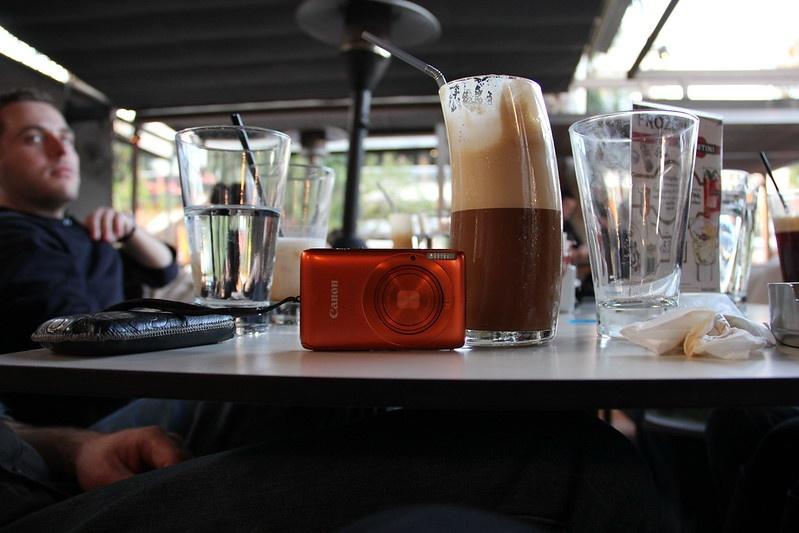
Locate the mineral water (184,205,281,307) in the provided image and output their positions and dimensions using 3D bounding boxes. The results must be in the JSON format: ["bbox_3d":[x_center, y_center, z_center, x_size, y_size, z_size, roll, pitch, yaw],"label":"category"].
[{"bbox_3d":[-0.302,-0.010,1.155,0.158,0.157,0.160,1,-7,-33],"label":"mineral water"}]

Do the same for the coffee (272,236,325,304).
[{"bbox_3d":[-0.171,0.006,1.278,0.127,0.114,0.108,2,-1,1],"label":"coffee"}]

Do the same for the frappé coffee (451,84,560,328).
[{"bbox_3d":[0.162,-0.099,1.036,0.199,0.394,0.094,1,9,2],"label":"frappé coffee"}]

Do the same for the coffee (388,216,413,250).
[{"bbox_3d":[0.004,-0.098,1.805,0.062,0.092,0.171,1,9,-1],"label":"coffee"}]

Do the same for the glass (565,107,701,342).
[{"bbox_3d":[0.394,-0.061,1.138,0.238,0.356,0.234,-8,8,-28],"label":"glass"}]

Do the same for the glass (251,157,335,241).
[{"bbox_3d":[-0.186,-0.136,1.330,0.145,0.152,0.144,2,-3,16],"label":"glass"}]
